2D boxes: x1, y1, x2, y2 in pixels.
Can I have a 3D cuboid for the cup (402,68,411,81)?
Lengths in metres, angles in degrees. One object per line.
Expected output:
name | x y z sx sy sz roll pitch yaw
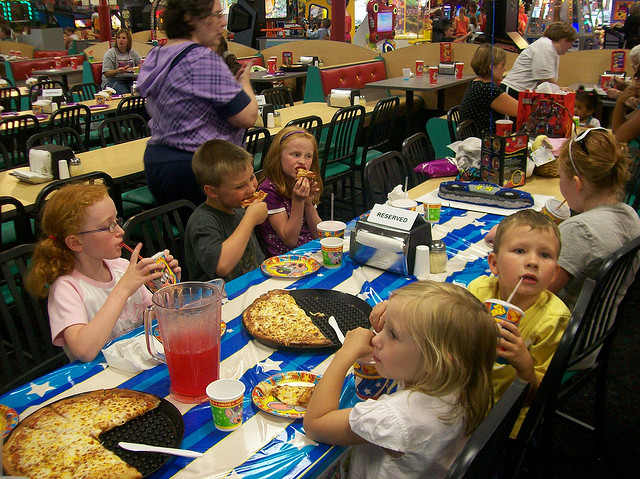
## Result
cup | 1.207 -2.307 6.140 0.089 0.168 0.307 0 19 10

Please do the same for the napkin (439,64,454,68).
napkin | 1.881 -2.586 6.539 0.053 0.060 0.215 -16 22 -34

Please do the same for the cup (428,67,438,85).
cup | 1.497 -2.162 5.809 0.088 0.212 0.207 1 19 13

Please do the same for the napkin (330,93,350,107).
napkin | 0.226 -1.640 5.162 0.235 0.160 0.172 17 31 34

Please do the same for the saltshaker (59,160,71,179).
saltshaker | -1.785 -0.489 3.053 0.073 0.125 0.074 14 25 42

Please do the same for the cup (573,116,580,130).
cup | 2.034 -0.920 3.477 0.049 0.099 0.259 7 21 30

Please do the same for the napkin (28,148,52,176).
napkin | -1.964 -0.547 3.084 0.161 0.156 0.089 11 16 35

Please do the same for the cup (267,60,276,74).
cup | -0.766 -2.749 6.994 0.097 0.207 0.099 -3 18 1

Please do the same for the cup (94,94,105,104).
cup | -2.850 -1.808 5.652 0.104 0.136 0.131 5 21 -2

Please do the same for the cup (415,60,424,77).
cup | 1.482 -2.540 6.544 0.097 0.223 0.260 0 18 11

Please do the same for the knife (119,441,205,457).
knife | -0.364 0.471 0.984 0.154 0.013 0.023 7 20 -3

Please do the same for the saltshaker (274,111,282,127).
saltshaker | -0.437 -1.235 4.518 0.072 0.140 0.198 -4 18 -2

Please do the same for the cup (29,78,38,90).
cup | -4.481 -2.442 6.892 0.142 0.157 0.165 -1 14 -4

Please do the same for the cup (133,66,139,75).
cup | -3.145 -2.873 7.481 0.096 0.132 0.375 -10 19 -18

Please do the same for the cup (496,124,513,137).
cup | 1.226 -0.731 2.918 0.085 0.063 0.152 3 19 18

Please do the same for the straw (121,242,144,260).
straw | -0.880 0.053 2.034 0.018 0.133 0.017 -43 21 8

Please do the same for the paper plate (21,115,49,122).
paper plate | -3.218 -1.398 5.030 0.212 0.031 0.219 2 9 12

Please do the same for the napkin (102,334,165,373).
napkin | -0.560 0.304 1.286 0.134 0.042 0.132 11 23 23

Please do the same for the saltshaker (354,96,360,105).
saltshaker | 0.428 -1.631 5.138 0.038 0.090 0.118 8 21 31

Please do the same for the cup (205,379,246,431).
cup | -0.229 0.416 1.084 0.094 0.091 0.097 -3 4 0

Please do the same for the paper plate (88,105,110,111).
paper plate | -2.709 -1.618 5.379 0.234 0.065 0.330 -12 20 -24

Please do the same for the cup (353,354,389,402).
cup | 0.136 0.373 1.221 0.102 0.116 0.113 -3 9 6

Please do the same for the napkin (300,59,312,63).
napkin | -0.236 -2.979 7.320 0.207 0.063 0.074 9 22 34

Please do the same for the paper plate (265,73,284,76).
paper plate | -0.725 -2.621 6.972 0.286 0.057 0.260 -6 18 -7

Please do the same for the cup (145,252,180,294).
cup | -0.490 0.106 1.460 0.083 0.128 0.091 -35 4 3

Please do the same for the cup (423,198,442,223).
cup | 0.573 -0.145 2.307 0.123 0.129 0.127 -1 13 0

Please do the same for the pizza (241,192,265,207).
pizza | -0.324 -0.199 2.078 0.087 0.024 0.063 -31 6 4

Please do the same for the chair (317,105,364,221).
chair | 0.158 -0.740 4.335 0.521 0.957 0.494 -13 13 -8

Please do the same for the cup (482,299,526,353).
cup | 0.476 0.232 1.187 0.101 0.114 0.104 12 -14 3

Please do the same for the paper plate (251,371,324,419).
paper plate | -0.090 0.408 1.155 0.158 0.026 0.167 -11 22 17

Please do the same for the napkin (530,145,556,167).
napkin | 1.443 -0.536 2.842 0.129 0.105 0.103 -5 18 -5

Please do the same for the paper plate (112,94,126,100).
paper plate | -2.814 -1.982 6.093 0.153 0.070 0.448 -11 20 -23

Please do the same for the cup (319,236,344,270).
cup | 0.050 0.054 1.833 0.105 0.094 0.116 0 16 0

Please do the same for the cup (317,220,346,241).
cup | 0.042 -0.042 2.005 0.094 0.073 0.095 -1 21 0

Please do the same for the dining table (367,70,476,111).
dining table | 1.448 -2.052 6.086 0.675 0.656 1.287 14 31 27
